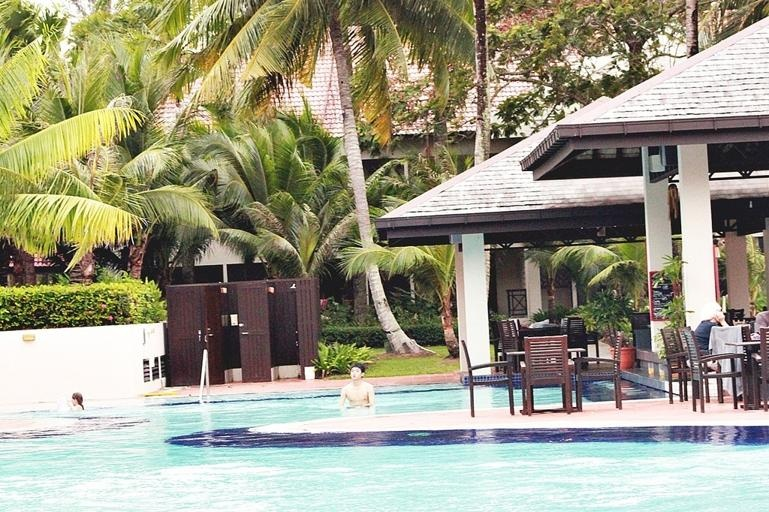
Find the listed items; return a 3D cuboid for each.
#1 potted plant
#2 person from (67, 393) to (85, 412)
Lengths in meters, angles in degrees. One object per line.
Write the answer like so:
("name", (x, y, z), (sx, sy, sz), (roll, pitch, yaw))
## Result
("potted plant", (6.608, 2.270, 31.093), (2.264, 3.063, 2.403), (1, -4, -4))
("person", (-7.605, 3.558, 25.426), (0.337, 0.476, 0.969), (-6, 7, -17))
